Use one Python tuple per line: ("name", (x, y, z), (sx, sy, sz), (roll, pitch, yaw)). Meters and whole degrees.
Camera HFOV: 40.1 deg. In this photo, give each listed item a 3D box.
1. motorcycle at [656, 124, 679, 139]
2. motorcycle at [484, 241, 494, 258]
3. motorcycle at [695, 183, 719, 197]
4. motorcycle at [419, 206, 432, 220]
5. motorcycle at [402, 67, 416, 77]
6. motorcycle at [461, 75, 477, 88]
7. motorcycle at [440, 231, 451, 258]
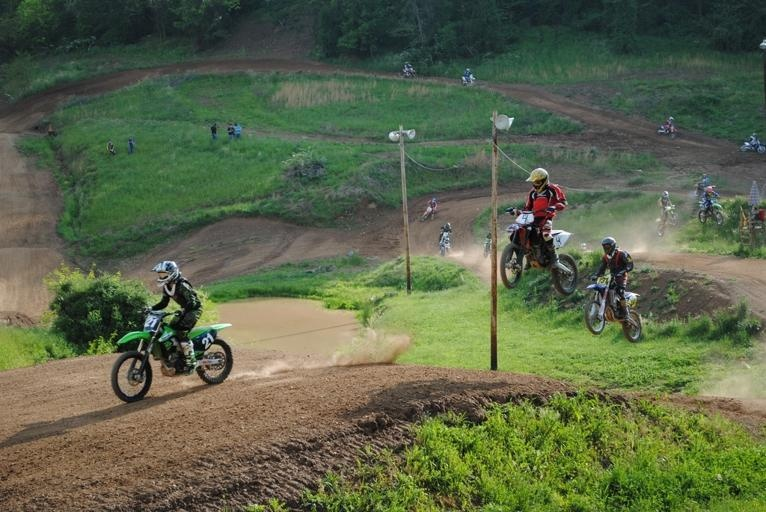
("motorcycle", (29.599, -13.154, 110.124), (1.130, 1.446, 2.255), (-12, 24, -42))
("motorcycle", (9.453, -0.529, 94.765), (0.733, 1.165, 0.331), (-4, 10, -38))
("motorcycle", (29.248, -5.998, 95.551), (1.715, 1.143, 1.094), (7, 39, 17))
("motorcycle", (4.277, -4.189, 102.689), (0.793, 0.871, 1.397), (-9, -16, -13))
("motorcycle", (3.358, -21.933, 125.211), (1.730, 1.157, 1.451), (-8, 14, -28))
("motorcycle", (9.873, -20.305, 121.622), (1.075, 1.275, 1.780), (1, 5, 3))
("motorcycle", (5.906, -1.347, 97.824), (0.856, 1.305, 2.021), (12, 28, -4))
